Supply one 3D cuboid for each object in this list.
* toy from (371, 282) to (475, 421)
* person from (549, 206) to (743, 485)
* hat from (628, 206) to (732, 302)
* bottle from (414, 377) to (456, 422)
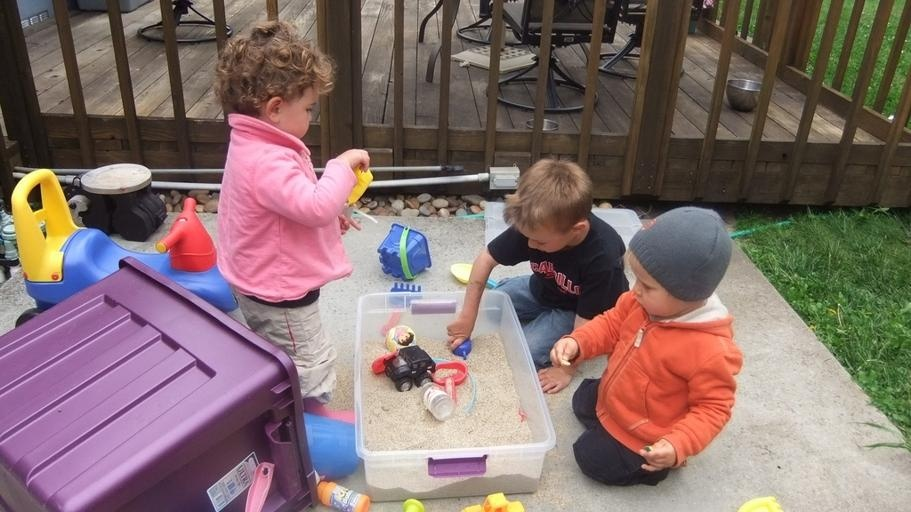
[{"bbox_3d":[-0.185,0.541,3.480,0.508,0.326,0.678,-1,32,-20],"label":"toy"},{"bbox_3d":[0.921,0.488,3.141,0.665,1.178,0.863,-4,38,-6],"label":"person"},{"bbox_3d":[1.012,-0.002,2.989,0.435,0.322,0.405,23,37,-1],"label":"hat"},{"bbox_3d":[-0.107,0.753,3.297,0.179,0.150,0.115,25,33,37],"label":"bottle"}]
